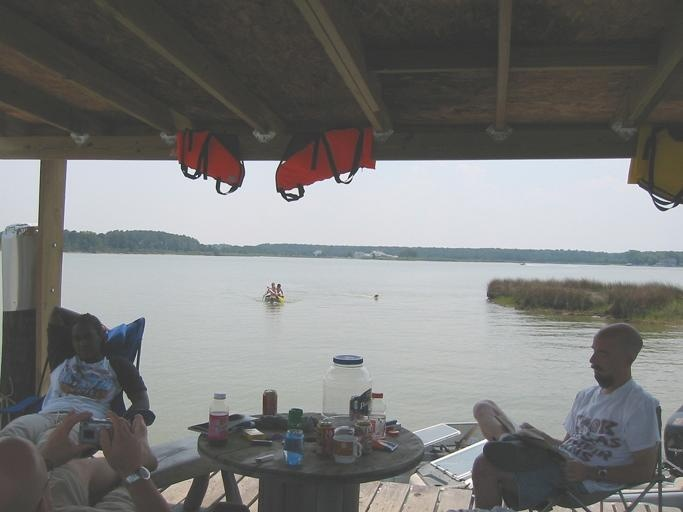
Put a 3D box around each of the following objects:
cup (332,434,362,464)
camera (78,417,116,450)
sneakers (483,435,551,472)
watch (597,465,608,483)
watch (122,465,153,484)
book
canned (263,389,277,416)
[{"bbox_3d":[0.031,1.084,3.510,0.155,0.118,0.109,0,-5,9],"label":"cup"},{"bbox_3d":[-1.377,0.970,3.492,0.228,0.180,0.159,3,-8,-9],"label":"camera"},{"bbox_3d":[1.135,1.257,3.995,0.251,0.122,0.261,3,2,5],"label":"sneakers"},{"bbox_3d":[1.660,1.376,3.976,0.050,0.085,0.076,2,-1,7],"label":"watch"},{"bbox_3d":[-1.072,1.139,3.271,0.113,0.067,0.114,-42,-24,16],"label":"watch"},{"bbox_3d":[1.277,1.200,4.093,0.334,0.118,0.262,24,-16,-14],"label":"book"},{"bbox_3d":[-0.473,0.954,4.097,0.084,0.153,0.165,3,-6,-12],"label":"canned"}]
